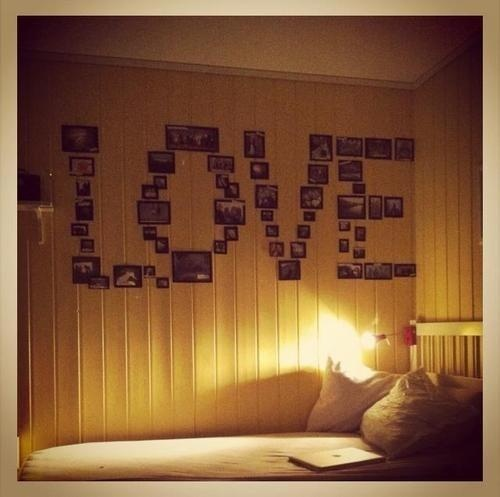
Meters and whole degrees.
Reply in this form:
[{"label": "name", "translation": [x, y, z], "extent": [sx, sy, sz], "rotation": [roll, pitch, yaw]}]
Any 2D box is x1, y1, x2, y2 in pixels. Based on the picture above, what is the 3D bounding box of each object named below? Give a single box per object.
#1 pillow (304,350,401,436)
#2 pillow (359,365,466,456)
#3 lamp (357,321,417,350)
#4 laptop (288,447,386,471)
[{"label": "pillow", "translation": [0.544, 0.821, 3.409], "extent": [0.130, 0.458, 0.372], "rotation": [32, -18, -37]}, {"label": "pillow", "translation": [0.790, 0.816, 3.062], "extent": [0.492, 0.377, 0.317], "rotation": [-6, -13, 8]}, {"label": "lamp", "translation": [0.825, 0.523, 3.695], "extent": [0.288, 0.130, 0.170], "rotation": [-1, -15, -4]}, {"label": "laptop", "translation": [0.408, 1.003, 2.966], "extent": [0.455, 0.078, 0.236], "rotation": [-5, -14, 0]}]
